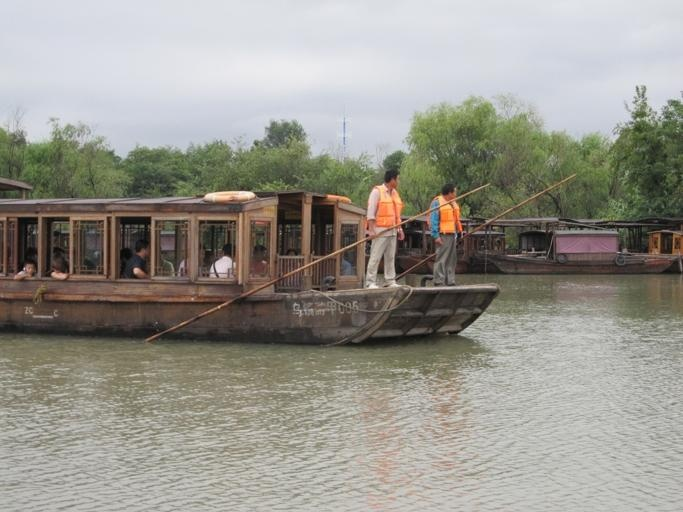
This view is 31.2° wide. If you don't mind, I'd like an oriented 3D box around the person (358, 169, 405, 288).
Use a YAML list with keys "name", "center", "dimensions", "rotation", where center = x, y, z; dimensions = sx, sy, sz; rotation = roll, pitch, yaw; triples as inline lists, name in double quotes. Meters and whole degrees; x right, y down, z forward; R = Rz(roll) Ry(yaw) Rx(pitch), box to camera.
- name: "person"
  center: [0.830, -0.543, 24.084]
  dimensions: [0.720, 2.342, 1.379]
  rotation: [-1, 3, 3]

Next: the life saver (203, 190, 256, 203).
- name: "life saver"
  center: [-2.218, -1.160, 24.256]
  dimensions: [1.040, 0.230, 0.800]
  rotation: [-1, 2, -6]

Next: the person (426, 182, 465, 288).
- name: "person"
  center: [2.080, -0.414, 24.381]
  dimensions: [0.616, 2.025, 1.147]
  rotation: [-1, 3, 4]
